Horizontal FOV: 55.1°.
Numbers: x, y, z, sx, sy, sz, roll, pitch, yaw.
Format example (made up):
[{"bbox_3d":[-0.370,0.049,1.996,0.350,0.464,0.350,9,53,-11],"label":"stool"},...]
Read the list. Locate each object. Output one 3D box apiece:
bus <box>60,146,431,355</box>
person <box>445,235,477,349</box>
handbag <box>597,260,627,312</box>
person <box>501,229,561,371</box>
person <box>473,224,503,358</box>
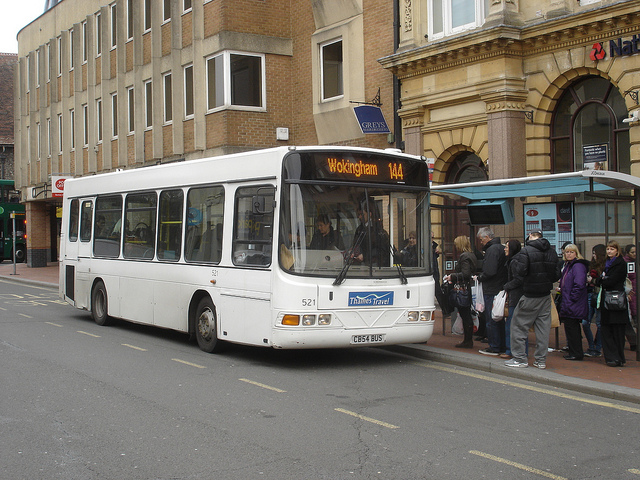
[{"bbox_3d":[-2.800,0.246,13.776,11.202,3.721,2.859,1,1,42],"label":"bus"},{"bbox_3d":[2.774,0.966,11.745,0.551,2.091,0.402,-1,1,-31],"label":"person"},{"bbox_3d":[4.938,0.672,10.163,0.375,0.675,0.702,14,44,36],"label":"handbag"},{"bbox_3d":[3.423,0.944,9.904,0.852,2.141,0.471,0,1,19],"label":"person"},{"bbox_3d":[3.056,0.889,10.937,0.436,2.242,0.722,0,1,15],"label":"person"}]
